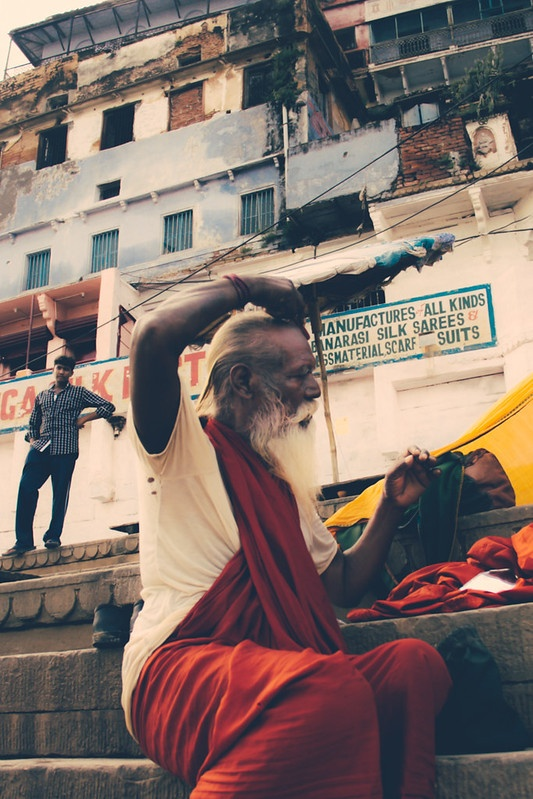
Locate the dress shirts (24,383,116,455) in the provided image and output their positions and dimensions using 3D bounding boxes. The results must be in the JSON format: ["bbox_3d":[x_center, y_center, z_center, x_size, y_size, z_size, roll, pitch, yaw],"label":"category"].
[{"bbox_3d":[-2.001,0.162,11.178,0.929,0.720,0.334,-3,-29,5],"label":"dress shirts"}]

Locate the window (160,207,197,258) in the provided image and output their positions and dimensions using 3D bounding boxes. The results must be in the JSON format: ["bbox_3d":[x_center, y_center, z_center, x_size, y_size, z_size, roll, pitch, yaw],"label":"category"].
[{"bbox_3d":[-1.606,-2.694,19.618,0.933,1.088,0.095,-12,-35,21],"label":"window"}]

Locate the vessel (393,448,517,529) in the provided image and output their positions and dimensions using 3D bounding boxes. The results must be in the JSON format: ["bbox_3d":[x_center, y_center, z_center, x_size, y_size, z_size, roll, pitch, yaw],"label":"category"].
[{"bbox_3d":[1.038,0.417,6.117,0.483,0.386,0.429,0,19,0],"label":"vessel"}]

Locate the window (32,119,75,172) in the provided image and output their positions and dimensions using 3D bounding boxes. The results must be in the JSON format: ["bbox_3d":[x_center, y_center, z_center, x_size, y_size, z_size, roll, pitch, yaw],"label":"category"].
[{"bbox_3d":[-4.479,-4.872,23.282,1.062,1.660,0.164,-18,-43,14],"label":"window"}]

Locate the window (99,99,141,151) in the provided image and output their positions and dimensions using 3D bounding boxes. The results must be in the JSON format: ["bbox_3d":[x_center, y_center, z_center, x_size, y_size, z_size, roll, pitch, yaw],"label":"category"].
[{"bbox_3d":[-2.976,-5.059,22.334,1.179,1.212,0.152,-17,-35,29],"label":"window"}]

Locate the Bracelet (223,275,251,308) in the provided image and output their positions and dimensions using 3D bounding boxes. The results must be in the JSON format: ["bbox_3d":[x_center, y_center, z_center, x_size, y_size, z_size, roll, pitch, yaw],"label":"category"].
[{"bbox_3d":[-0.125,-0.384,4.251,0.054,0.107,0.090,-19,-11,-17],"label":"Bracelet"}]

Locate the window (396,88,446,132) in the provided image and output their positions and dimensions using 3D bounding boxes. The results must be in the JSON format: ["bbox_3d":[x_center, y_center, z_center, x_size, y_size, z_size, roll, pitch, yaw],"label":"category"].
[{"bbox_3d":[2.475,-4.522,18.743,0.294,0.599,0.972,7,-19,-41],"label":"window"}]

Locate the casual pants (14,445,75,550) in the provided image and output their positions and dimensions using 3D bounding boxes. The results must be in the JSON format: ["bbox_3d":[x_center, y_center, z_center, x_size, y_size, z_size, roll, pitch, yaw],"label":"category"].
[{"bbox_3d":[-1.978,0.747,9.849,0.476,1.043,0.277,2,-28,-7],"label":"casual pants"}]
